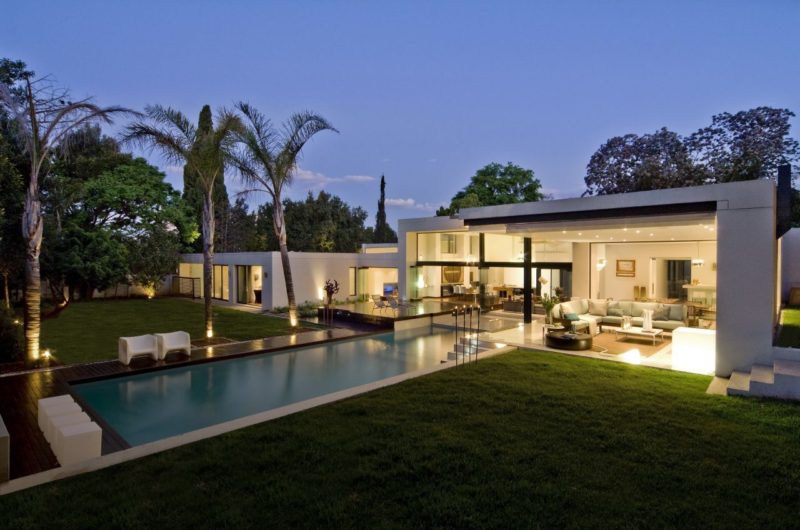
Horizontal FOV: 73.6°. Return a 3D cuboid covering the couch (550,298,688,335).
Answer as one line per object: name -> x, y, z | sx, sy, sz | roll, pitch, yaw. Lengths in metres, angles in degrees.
couch -> 8.015, 1.993, 19.582 | 3.117, 1.244, 4.317 | -10, 5, -40

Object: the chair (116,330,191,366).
chair -> -7.705, 2.579, 16.860 | 2.037, 0.777, 0.734 | -7, 11, -32

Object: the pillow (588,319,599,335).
pillow -> 6.832, 2.242, 19.093 | 0.564, 0.590, 0.086 | 0, 0, -40

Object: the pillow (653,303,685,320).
pillow -> 9.590, 1.724, 19.101 | 0.630, 0.652, 0.251 | -4, -31, 29

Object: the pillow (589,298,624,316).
pillow -> 7.730, 1.628, 20.240 | 0.713, 0.289, 0.724 | 1, 25, 13

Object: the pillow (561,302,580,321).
pillow -> 6.093, 1.721, 19.392 | 0.647, 0.615, 0.187 | -5, -19, -40
